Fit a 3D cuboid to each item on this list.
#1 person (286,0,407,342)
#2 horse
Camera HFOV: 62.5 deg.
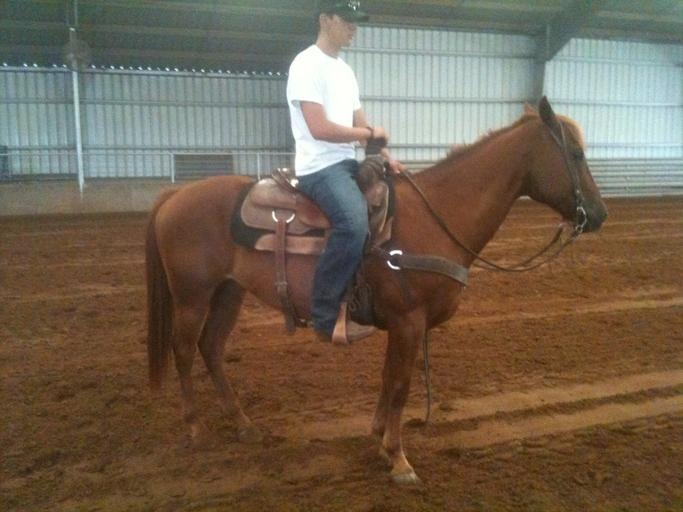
[{"bbox_3d":[-0.032,-0.453,4.172,0.558,2.081,0.670,-7,16,-30],"label":"person"},{"bbox_3d":[0.059,0.166,4.741,3.616,3.463,1.143,5,27,4],"label":"horse"}]
